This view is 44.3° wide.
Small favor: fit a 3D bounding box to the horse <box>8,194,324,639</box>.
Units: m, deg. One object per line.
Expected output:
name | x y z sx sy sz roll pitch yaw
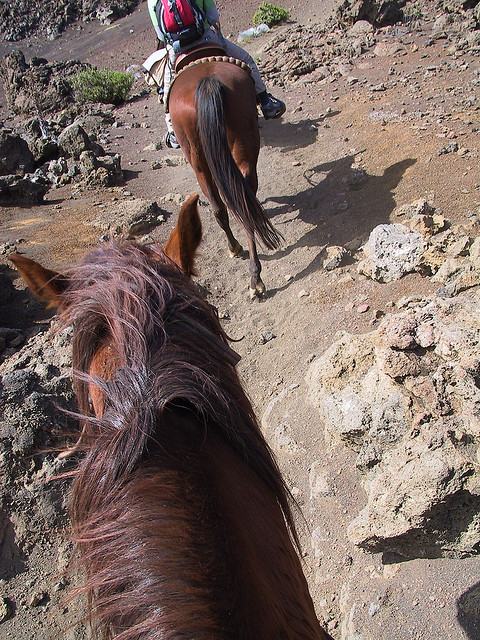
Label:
horse | -0.227 0.546 2.040 0.644 1.354 1.064 -18 27 7
